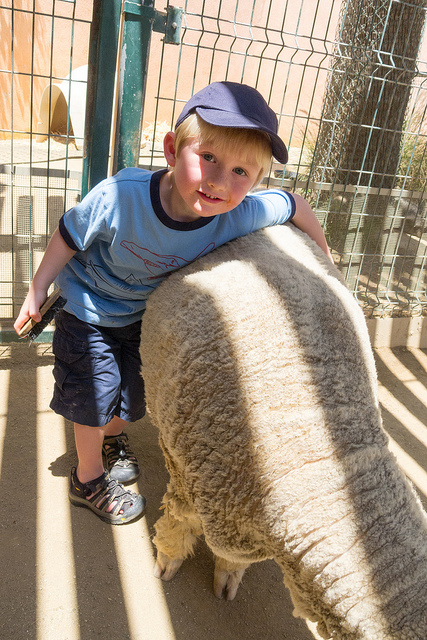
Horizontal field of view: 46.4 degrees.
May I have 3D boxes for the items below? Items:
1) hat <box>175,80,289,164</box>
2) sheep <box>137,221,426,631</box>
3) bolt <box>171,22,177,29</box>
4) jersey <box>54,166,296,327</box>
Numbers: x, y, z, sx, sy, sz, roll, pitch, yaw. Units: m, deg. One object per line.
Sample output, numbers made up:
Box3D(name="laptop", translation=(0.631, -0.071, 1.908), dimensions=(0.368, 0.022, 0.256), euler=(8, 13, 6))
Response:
Box3D(name="hat", translation=(0.049, -0.526, 1.286), dimensions=(0.191, 0.143, 0.251), euler=(19, 4, -32))
Box3D(name="sheep", translation=(0.072, 0.152, 1.356), dimensions=(0.498, 0.649, 1.255), euler=(-6, 48, -13))
Box3D(name="bolt", translation=(-0.157, -1.167, 1.970), dimensions=(0.018, 0.017, 0.004), euler=(3, 11, -16))
Box3D(name="jersey", translation=(-0.101, -0.190, 1.365), dimensions=(0.562, 0.594, 0.210), euler=(13, 59, -28))
